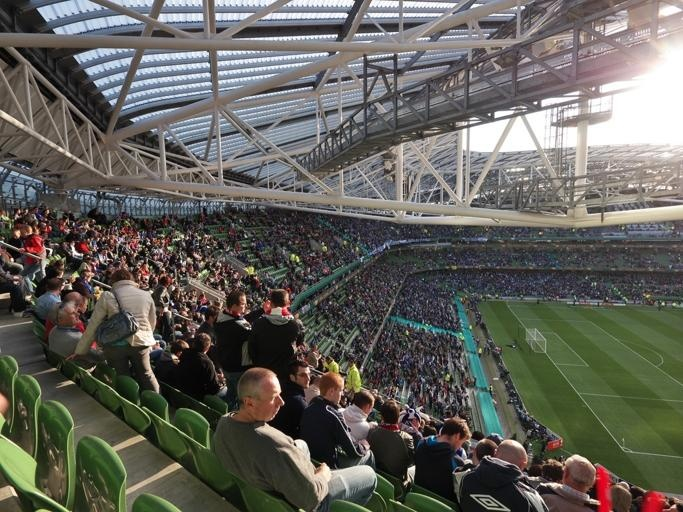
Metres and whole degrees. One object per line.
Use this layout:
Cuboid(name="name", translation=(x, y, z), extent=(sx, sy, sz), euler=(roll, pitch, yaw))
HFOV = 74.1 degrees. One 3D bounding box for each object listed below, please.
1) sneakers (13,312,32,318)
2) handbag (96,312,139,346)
Cuboid(name="sneakers", translation=(-6.023, 1.080, 8.537), extent=(0.351, 0.089, 0.120), euler=(1, 8, -3))
Cuboid(name="handbag", translation=(-2.925, 0.924, 5.878), extent=(0.343, 0.315, 0.154), euler=(-34, 8, -4))
